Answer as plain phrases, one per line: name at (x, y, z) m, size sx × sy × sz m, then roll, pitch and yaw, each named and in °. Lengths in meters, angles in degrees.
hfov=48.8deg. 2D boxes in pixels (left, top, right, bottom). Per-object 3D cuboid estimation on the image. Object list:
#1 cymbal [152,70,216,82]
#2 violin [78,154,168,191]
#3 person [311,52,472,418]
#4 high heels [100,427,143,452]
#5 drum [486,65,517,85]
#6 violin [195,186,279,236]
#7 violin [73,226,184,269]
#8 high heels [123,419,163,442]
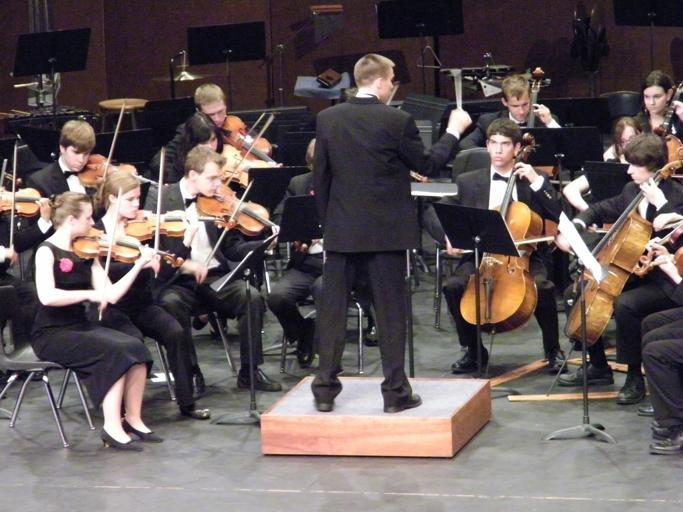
cymbal at (-2.478, -2.744, 11.579) m, size 0.703 × 0.107 × 0.634 m, roll -8°, pitch 17°, yaw -8°
violin at (-1.890, -0.664, 6.259) m, size 0.783 × 0.127 × 0.339 m, roll 15°, pitch 33°, yaw 30°
person at (0.207, -0.113, 4.214) m, size 0.862 × 1.972 × 0.430 m, roll -4°, pitch 13°, yaw -2°
high heels at (-1.300, 1.105, 4.535) m, size 0.327 × 0.117 × 0.106 m, roll -1°, pitch -1°, yaw 11°
drum at (1.896, -2.177, 9.009) m, size 0.323 × 0.136 × 0.422 m, roll 1°, pitch 7°, yaw 14°
violin at (-0.807, -0.314, 5.827) m, size 0.704 × 0.251 × 0.116 m, roll 22°, pitch -36°, yaw -24°
violin at (-1.380, -0.035, 4.729) m, size 0.506 × 0.068 × 0.201 m, roll 13°, pitch 26°, yaw -19°
high heels at (-1.207, 1.080, 4.677) m, size 0.316 × 0.112 × 0.097 m, roll 9°, pitch -2°, yaw 4°
